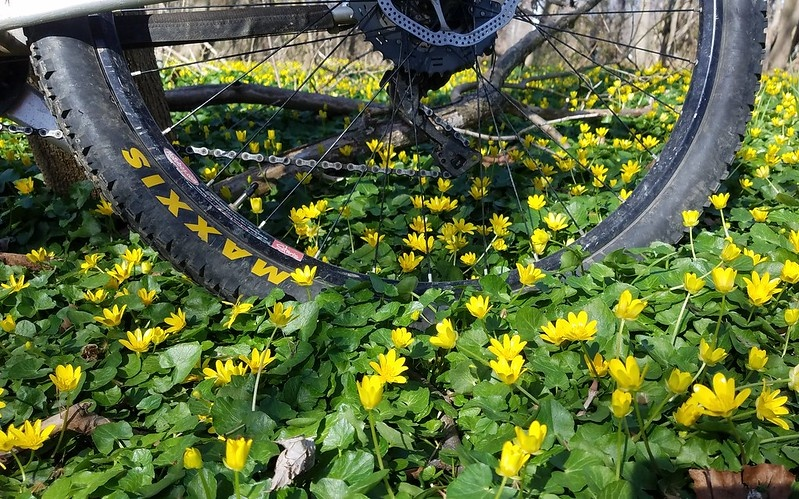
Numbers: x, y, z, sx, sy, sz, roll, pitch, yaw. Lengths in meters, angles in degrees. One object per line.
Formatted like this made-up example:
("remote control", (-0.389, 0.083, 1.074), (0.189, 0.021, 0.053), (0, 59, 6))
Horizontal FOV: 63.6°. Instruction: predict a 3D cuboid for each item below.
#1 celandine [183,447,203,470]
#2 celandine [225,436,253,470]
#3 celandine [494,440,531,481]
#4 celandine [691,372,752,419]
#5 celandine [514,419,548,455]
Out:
("celandine", (-0.832, 0.843, 2.590), (0.061, 0.092, 0.099), (5, -9, -11))
("celandine", (-0.641, 0.808, 2.545), (0.112, 0.121, 0.109), (5, -8, -9))
("celandine", (0.450, 0.830, 2.534), (0.113, 0.158, 0.179), (-4, -11, 39))
("celandine", (1.320, 0.604, 2.661), (0.177, 0.180, 0.194), (9, -11, -37))
("celandine", (0.517, 0.737, 2.575), (0.147, 0.135, 0.132), (5, 4, -3))
